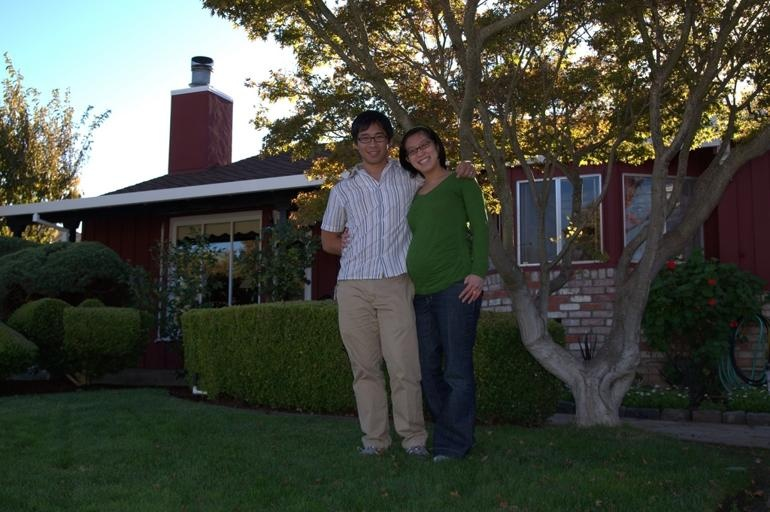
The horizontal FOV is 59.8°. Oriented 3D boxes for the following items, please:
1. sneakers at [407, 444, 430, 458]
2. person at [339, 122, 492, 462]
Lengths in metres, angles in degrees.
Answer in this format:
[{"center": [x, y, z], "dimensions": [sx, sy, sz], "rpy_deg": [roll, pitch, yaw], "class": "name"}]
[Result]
[{"center": [0.301, 1.720, 5.913], "dimensions": [0.212, 0.109, 0.085], "rpy_deg": [-5, -6, 34], "class": "sneakers"}, {"center": [0.527, 0.300, 5.963], "dimensions": [0.751, 2.918, 0.403], "rpy_deg": [1, -1, 1], "class": "person"}]
